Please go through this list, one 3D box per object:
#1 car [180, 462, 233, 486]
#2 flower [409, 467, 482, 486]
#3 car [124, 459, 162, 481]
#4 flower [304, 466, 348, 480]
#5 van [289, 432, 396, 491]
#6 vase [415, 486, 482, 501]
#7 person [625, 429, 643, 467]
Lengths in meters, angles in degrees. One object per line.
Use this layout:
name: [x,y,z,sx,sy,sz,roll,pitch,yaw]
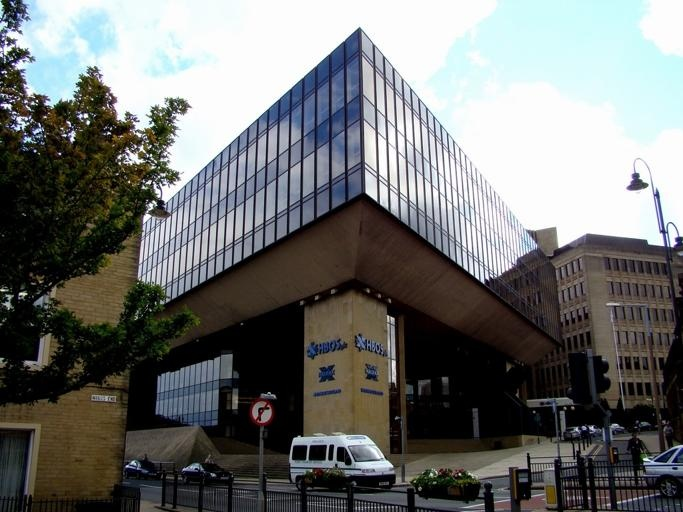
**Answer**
car: [-7.857,12.348,33.487,2.223,1.444,4.322,8,-27,-19]
flower: [3.119,6.747,17.800,1.088,0.432,1.363,17,-29,-42]
car: [-13.647,14.475,39.710,1.189,1.382,3.948,20,-33,-39]
flower: [-0.629,9.097,24.527,0.782,0.508,2.024,19,-32,-37]
van: [-0.046,9.204,26.435,2.486,2.432,4.719,17,-30,-38]
vase: [3.331,7.054,17.390,0.731,0.471,2.088,16,-30,-33]
person: [14.062,9.262,27.814,0.736,1.944,0.439,-6,14,15]
